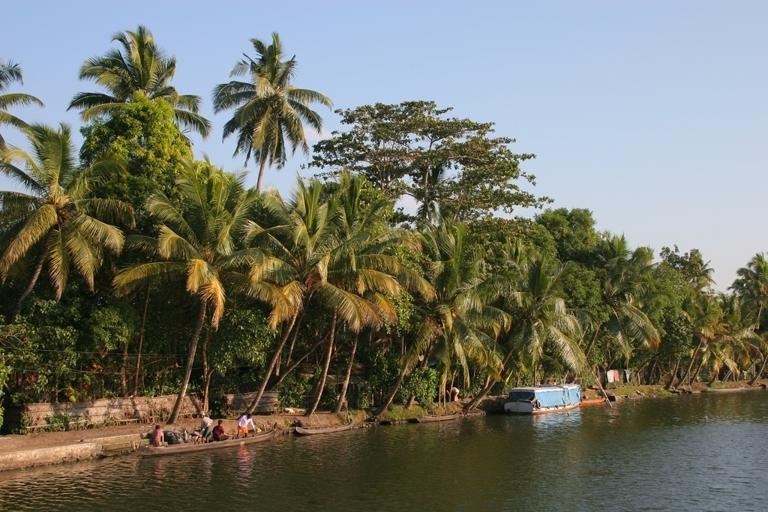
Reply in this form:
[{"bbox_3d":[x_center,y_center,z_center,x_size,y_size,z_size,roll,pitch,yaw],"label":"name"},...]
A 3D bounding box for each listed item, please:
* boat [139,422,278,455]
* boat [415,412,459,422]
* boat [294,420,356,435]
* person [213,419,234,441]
[{"bbox_3d":[-8.159,9.390,42.164,10.767,1.368,1.829,6,-10,-35],"label":"boat"},{"bbox_3d":[3.831,11.074,53.228,4.257,0.693,0.977,4,-3,-35],"label":"boat"},{"bbox_3d":[-3.657,10.405,46.928,1.401,0.857,4.132,-13,-20,42],"label":"boat"},{"bbox_3d":[-8.820,9.387,41.947,0.664,1.303,0.889,12,17,19],"label":"person"}]
